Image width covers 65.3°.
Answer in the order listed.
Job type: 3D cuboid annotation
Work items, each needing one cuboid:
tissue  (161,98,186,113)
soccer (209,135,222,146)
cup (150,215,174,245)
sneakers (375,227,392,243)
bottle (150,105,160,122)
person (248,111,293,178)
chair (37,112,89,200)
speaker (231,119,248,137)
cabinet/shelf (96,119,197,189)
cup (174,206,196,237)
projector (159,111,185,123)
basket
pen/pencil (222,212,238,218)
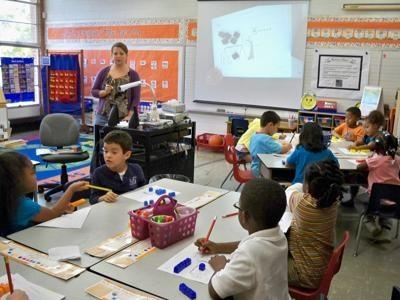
[{"bbox_3d":[-0.358,-0.564,4.079,0.194,0.135,0.197,-2,8,-25],"label":"tissue "},{"bbox_3d":[0.334,-0.200,6.554,0.228,0.241,0.231,-23,21,-28],"label":"soccer"},{"bbox_3d":[-0.200,0.427,1.694,0.115,0.123,0.147,3,3,35],"label":"cup"},{"bbox_3d":[1.953,0.914,3.360,0.171,0.145,0.110,-4,4,18],"label":"sneakers"},{"bbox_3d":[-0.558,-0.471,3.840,0.119,0.203,0.429,0,14,-7],"label":"bottle"},{"bbox_3d":[0.904,0.086,3.896,0.527,1.109,0.483,1,8,22],"label":"person"},{"bbox_3d":[-1.887,0.080,4.317,0.618,1.142,0.655,-1,8,-18],"label":"chair"},{"bbox_3d":[0.719,-0.435,5.826,0.255,0.461,0.321,5,17,19],"label":"speaker"},{"bbox_3d":[-0.608,-0.108,4.096,0.783,1.121,1.143,9,16,27],"label":"cabinet/shelf"},{"bbox_3d":[-0.081,0.397,1.747,0.103,0.107,0.151,-2,6,-21],"label":"cup"},{"bbox_3d":[-0.381,-0.427,3.966,0.177,0.071,0.190,10,15,32],"label":"projector"},{"bbox_3d":[-0.208,0.389,1.797,0.392,0.238,0.384,0,0,-21],"label":"basket"},{"bbox_3d":[0.195,0.418,2.021,0.118,0.017,0.021,-7,40,-34],"label":"pen/pencil"}]
